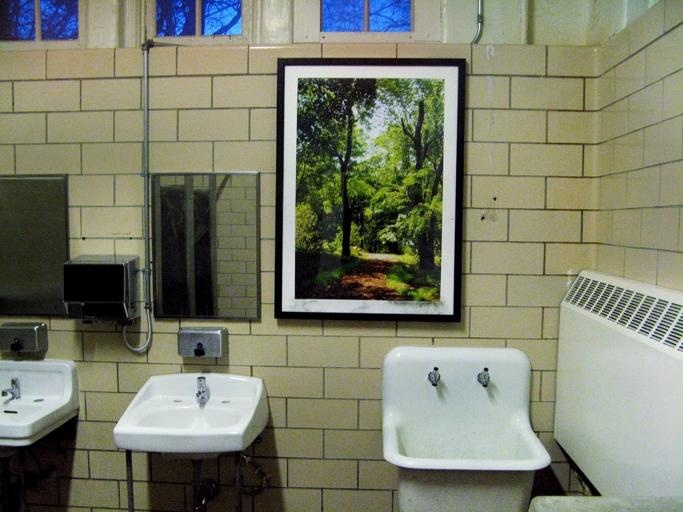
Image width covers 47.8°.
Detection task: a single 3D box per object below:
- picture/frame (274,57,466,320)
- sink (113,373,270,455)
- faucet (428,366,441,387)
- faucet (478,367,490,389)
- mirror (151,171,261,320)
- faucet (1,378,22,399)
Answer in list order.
[{"bbox_3d":[0.173,-0.402,3.979,1.178,1.791,0.066,0,1,-3],"label":"picture/frame"},{"bbox_3d":[-0.751,0.783,3.876,0.659,0.272,0.391,2,8,4],"label":"sink"},{"bbox_3d":[0.469,0.613,3.937,0.062,0.102,0.029,0,3,6],"label":"faucet"},{"bbox_3d":[0.728,0.628,3.938,0.069,0.106,0.051,2,7,7],"label":"faucet"},{"bbox_3d":[-0.718,-0.040,4.034,0.549,0.805,0.022,0,16,-9],"label":"mirror"},{"bbox_3d":[-1.747,0.708,4.073,0.089,0.114,0.086,-1,8,-16],"label":"faucet"}]
